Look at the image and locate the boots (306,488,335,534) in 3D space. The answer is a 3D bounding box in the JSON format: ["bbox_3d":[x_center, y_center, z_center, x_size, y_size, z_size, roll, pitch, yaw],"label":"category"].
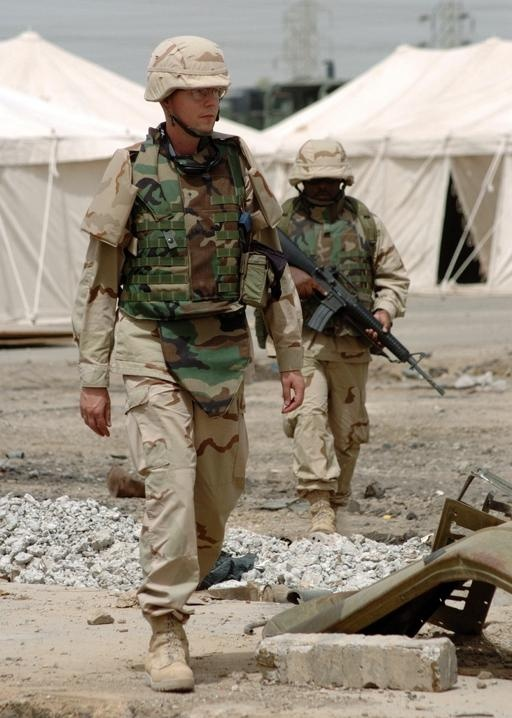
[{"bbox_3d":[0.284,0.667,5.372,0.126,0.150,0.251,2,5,2],"label":"boots"}]

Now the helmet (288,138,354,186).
[{"bbox_3d":[0.294,-0.886,5.566,0.271,0.159,0.240,1,15,1],"label":"helmet"}]

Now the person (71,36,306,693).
[{"bbox_3d":[-0.218,-0.021,3.545,0.624,1.812,0.935,3,7,13],"label":"person"}]

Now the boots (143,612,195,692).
[{"bbox_3d":[-0.234,0.781,3.287,0.127,0.178,0.291,1,5,-5],"label":"boots"}]

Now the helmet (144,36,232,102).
[{"bbox_3d":[-0.186,-0.833,3.535,0.182,0.190,0.329,-3,7,-35],"label":"helmet"}]
